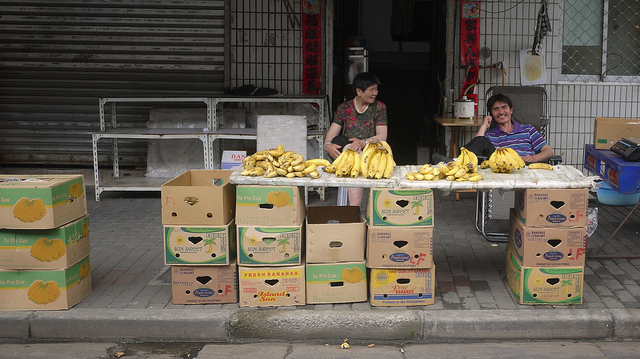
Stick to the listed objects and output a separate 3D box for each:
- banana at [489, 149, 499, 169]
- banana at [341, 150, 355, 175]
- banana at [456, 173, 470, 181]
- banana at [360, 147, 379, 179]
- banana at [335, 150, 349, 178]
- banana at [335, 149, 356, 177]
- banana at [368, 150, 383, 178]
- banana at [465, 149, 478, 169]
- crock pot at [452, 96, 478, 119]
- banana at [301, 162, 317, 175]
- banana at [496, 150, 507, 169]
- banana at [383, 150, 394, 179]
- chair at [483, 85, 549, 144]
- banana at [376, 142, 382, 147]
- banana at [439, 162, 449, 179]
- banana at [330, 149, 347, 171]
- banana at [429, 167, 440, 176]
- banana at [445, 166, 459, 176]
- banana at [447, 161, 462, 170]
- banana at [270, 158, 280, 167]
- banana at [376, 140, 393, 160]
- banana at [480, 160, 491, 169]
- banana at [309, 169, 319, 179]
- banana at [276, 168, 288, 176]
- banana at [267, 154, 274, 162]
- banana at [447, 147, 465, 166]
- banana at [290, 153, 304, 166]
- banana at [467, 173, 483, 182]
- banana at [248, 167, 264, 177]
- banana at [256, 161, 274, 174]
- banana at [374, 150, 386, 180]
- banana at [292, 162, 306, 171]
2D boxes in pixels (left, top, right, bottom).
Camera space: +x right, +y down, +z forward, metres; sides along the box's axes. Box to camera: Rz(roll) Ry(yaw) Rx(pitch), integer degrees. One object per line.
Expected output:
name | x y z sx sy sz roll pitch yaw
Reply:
banana | 2.092 -0.249 6.379 0.079 0.191 0.155 9 10 14
banana | 0.354 -0.210 6.299 0.093 0.102 0.310 15 48 11
banana | 1.674 -0.024 6.122 0.119 0.029 0.065 -43 48 -17
banana | 0.557 -0.237 6.186 0.162 0.433 0.092 23 -25 8
banana | 0.279 -0.187 6.292 0.102 0.077 0.395 27 39 0
banana | 0.336 -0.215 6.338 0.121 0.183 0.394 29 38 31
banana | 0.650 -0.187 6.238 0.091 0.094 0.361 16 55 26
banana | 1.847 -0.248 6.400 0.112 0.201 0.237 -1 11 11
crock pot | 2.576 -1.279 9.333 0.362 0.380 0.305 -4 11 -2
banana | -0.124 -0.142 6.222 0.136 0.039 0.133 15 49 34
banana | 2.159 -0.226 6.285 0.099 0.163 0.047 -5 -15 26
banana | 0.821 -0.180 6.287 0.122 0.344 0.097 -10 -35 29
chair | 3.159 -1.096 9.004 1.011 1.314 1.147 0 2 12
banana | 0.746 -0.448 6.644 0.070 0.057 0.017 5 -20 -42
banana | 1.455 -0.103 6.208 0.117 0.144 0.093 -26 -3 -15
banana | 0.206 -0.217 6.411 0.106 0.344 0.091 38 -15 5
banana | 1.348 -0.097 6.177 0.095 0.083 0.022 2 -12 9
banana | 1.563 -0.104 6.185 0.069 0.057 0.221 -15 9 46
banana | 1.639 -0.199 6.424 0.089 0.064 0.255 7 19 32
banana | -0.530 -0.210 6.264 0.092 0.091 0.171 -8 12 -24
banana | 0.847 -0.454 6.856 0.110 0.134 0.368 -20 46 -1
banana | 2.057 -0.195 6.543 0.105 0.118 0.105 0 12 15
banana | -0.065 -0.070 6.196 0.114 0.088 0.157 -4 11 -3
banana | -0.441 -0.097 6.229 0.141 0.062 0.071 13 30 11
banana | -0.578 -0.259 6.291 0.052 0.079 0.105 -13 15 -39
banana | 1.654 -0.261 6.397 0.138 0.092 0.352 6 35 27
banana | -0.277 -0.246 6.268 0.129 0.051 0.217 1 29 -3
banana | 1.816 -0.031 6.115 0.110 0.026 0.102 2 30 1
banana | -0.747 -0.094 6.180 0.097 0.047 0.131 3 9 37
banana | -0.631 -0.159 6.273 0.217 0.131 0.058 37 -8 42
banana | 0.751 -0.198 6.275 0.085 0.132 0.388 23 57 -3
banana | -0.241 -0.156 6.197 0.168 0.085 0.082 -6 12 -14
